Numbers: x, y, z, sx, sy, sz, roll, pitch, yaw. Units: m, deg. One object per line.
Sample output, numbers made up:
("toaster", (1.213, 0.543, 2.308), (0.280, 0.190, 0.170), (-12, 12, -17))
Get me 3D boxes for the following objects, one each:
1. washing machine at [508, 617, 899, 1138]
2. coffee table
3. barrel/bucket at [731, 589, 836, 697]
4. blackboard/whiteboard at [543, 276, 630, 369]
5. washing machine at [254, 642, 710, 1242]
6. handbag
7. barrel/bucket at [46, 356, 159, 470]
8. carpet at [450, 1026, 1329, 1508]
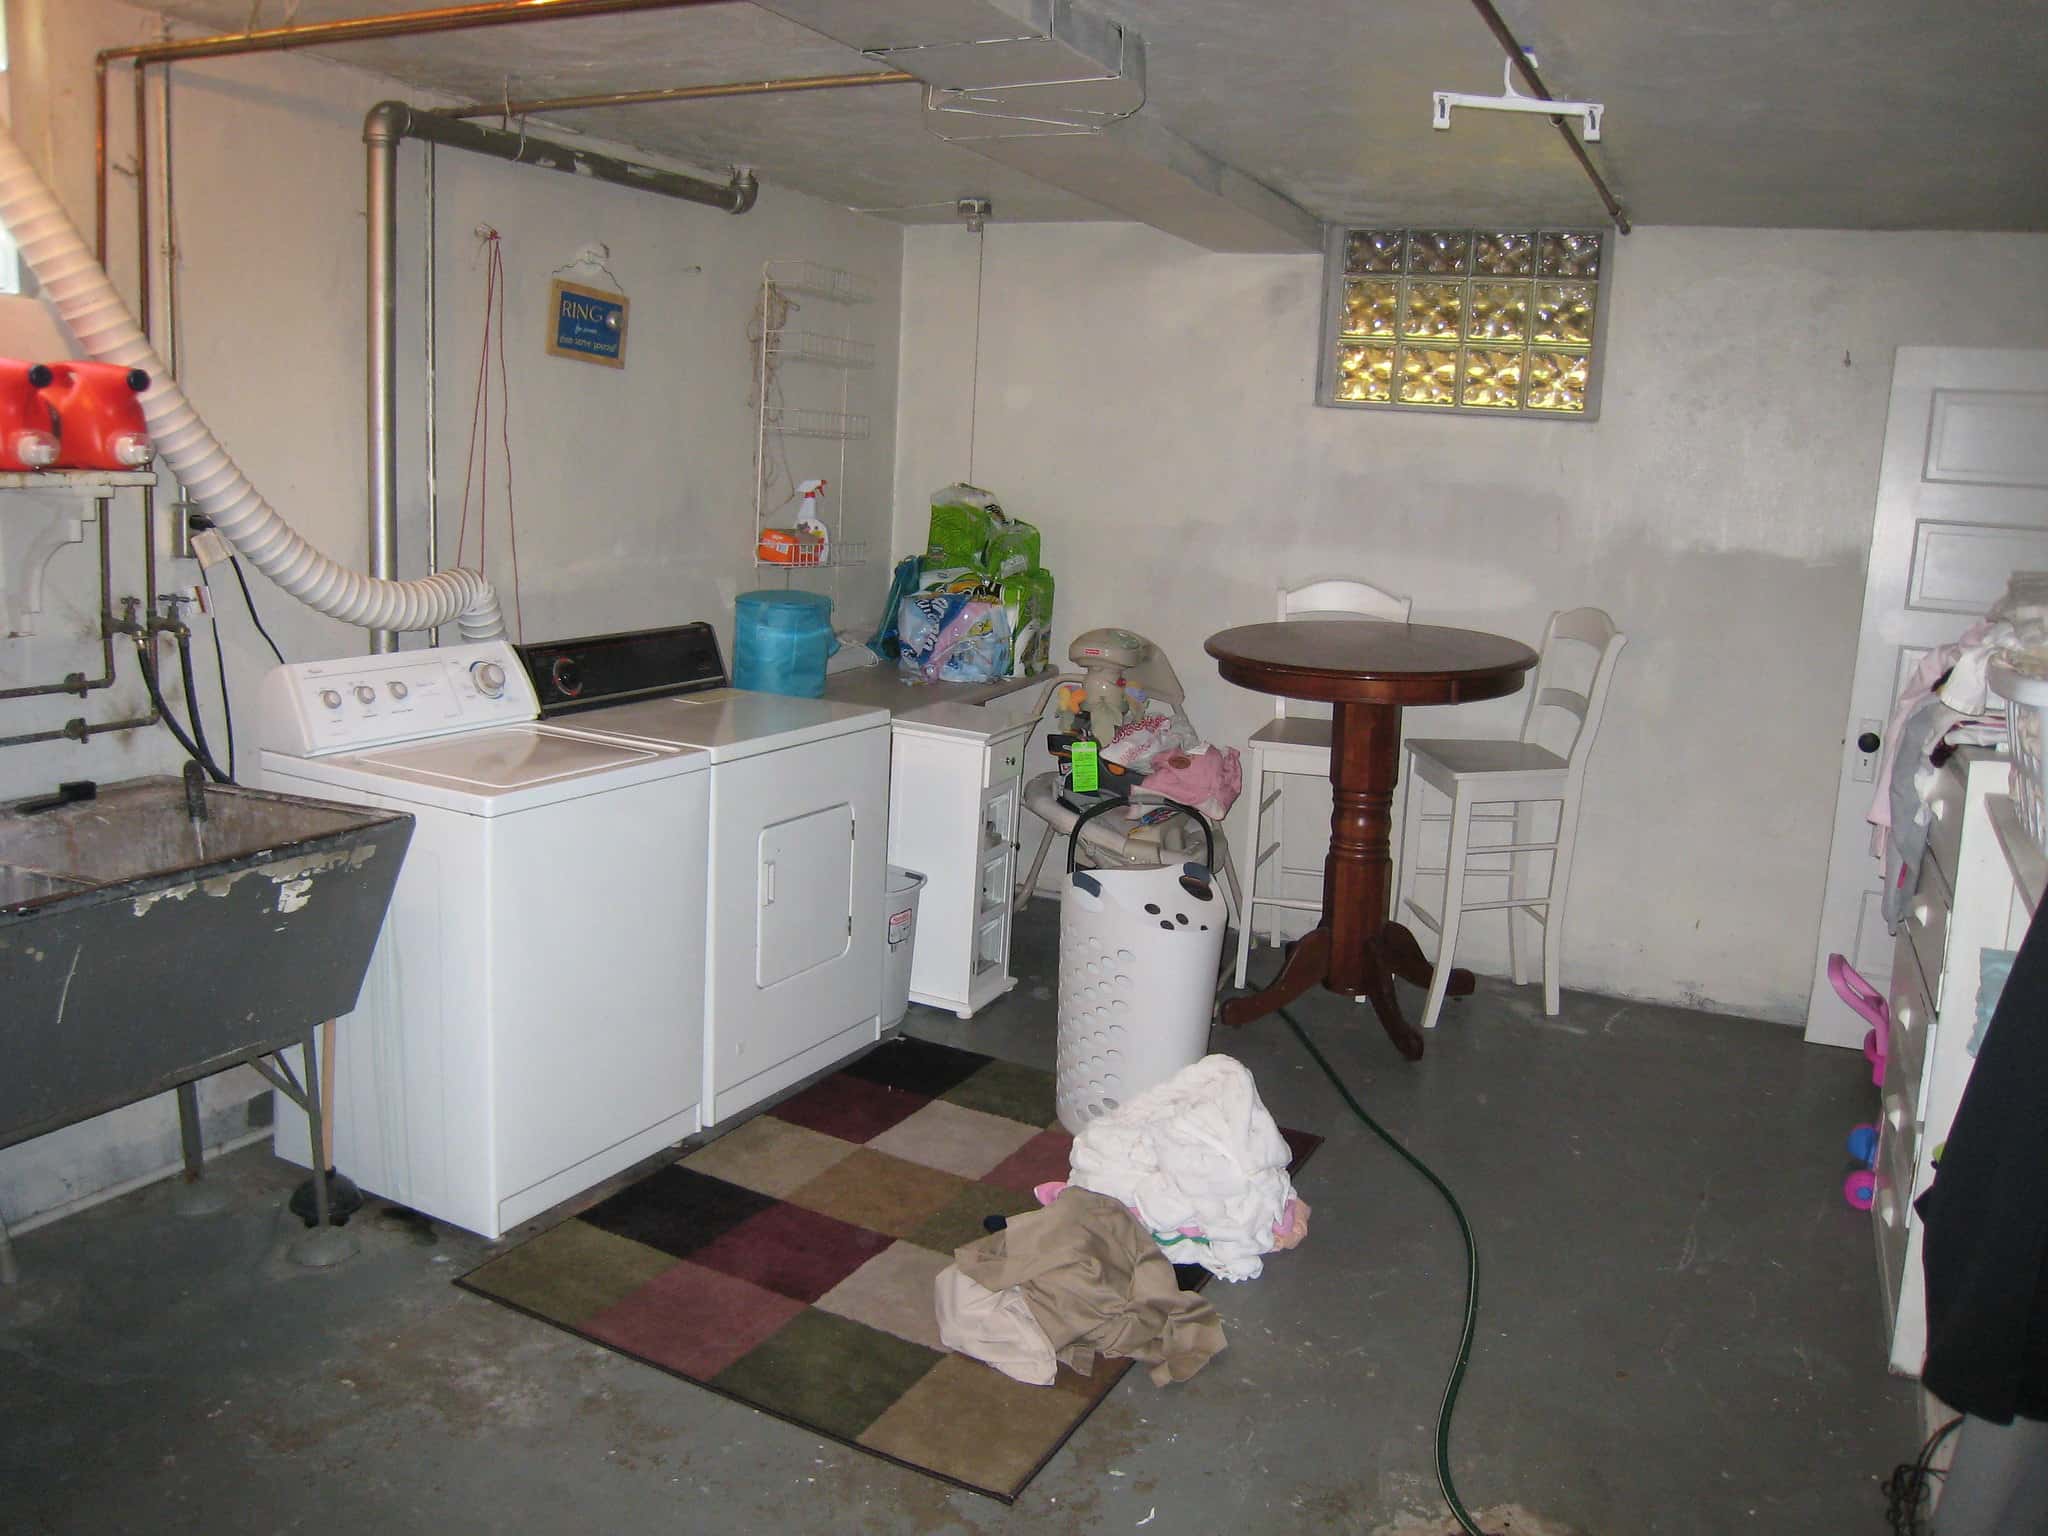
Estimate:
("washing machine", (-0.902, 0.223, 4.543), (0.792, 1.168, 0.875), (-9, 16, -39))
("coffee table", (1.092, 0.204, 4.966), (1.079, 1.089, 1.094), (4, 7, 40))
("barrel/bucket", (-0.782, -0.436, 4.930), (0.323, 0.315, 0.304), (4, 24, -2))
("blackboard/whiteboard", (-1.376, -1.377, 4.666), (0.024, 0.229, 0.324), (8, 12, 28))
("washing machine", (-1.382, 0.378, 3.927), (0.828, 1.321, 0.898), (13, 16, 35))
("handbag", (-0.136, -0.719, 5.905), (0.817, 0.821, 0.587), (5, 16, 12))
("barrel/bucket", (-1.979, -0.752, 3.178), (0.235, 0.229, 0.143), (22, 24, 18))
("carpet", (-0.324, 1.127, 3.854), (1.448, 0.119, 1.537), (8, 16, 22))
